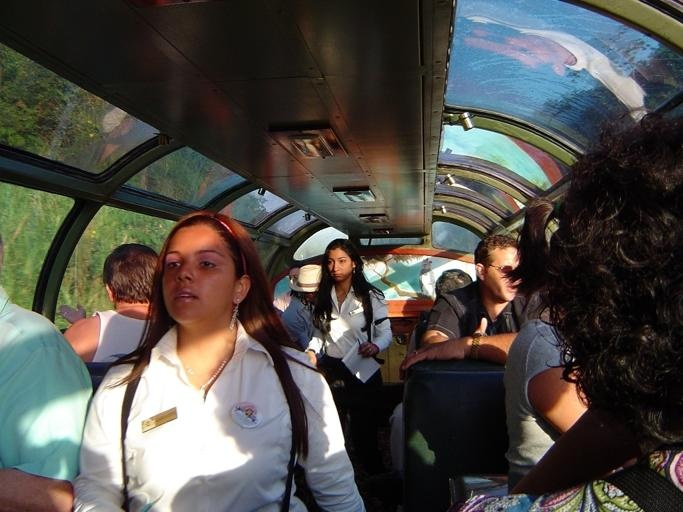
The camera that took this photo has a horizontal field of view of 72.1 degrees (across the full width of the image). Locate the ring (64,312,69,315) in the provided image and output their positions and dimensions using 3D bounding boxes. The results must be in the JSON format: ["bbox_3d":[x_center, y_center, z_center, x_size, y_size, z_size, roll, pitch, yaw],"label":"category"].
[{"bbox_3d":[-3.386,0.698,5.770,0.041,0.034,0.010,0,9,-21],"label":"ring"}]

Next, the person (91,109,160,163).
[{"bbox_3d":[-2.536,-1.335,5.315,0.632,0.305,0.753,-15,-13,12],"label":"person"}]

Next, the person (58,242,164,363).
[{"bbox_3d":[-1.997,0.370,3.970,1.063,0.841,0.491,2,14,-33],"label":"person"}]

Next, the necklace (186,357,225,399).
[{"bbox_3d":[-0.669,0.611,2.388,0.071,0.031,0.188,23,45,9],"label":"necklace"}]

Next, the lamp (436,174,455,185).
[{"bbox_3d":[1.912,-1.419,8.649,0.122,0.248,0.255,10,43,40],"label":"lamp"}]
